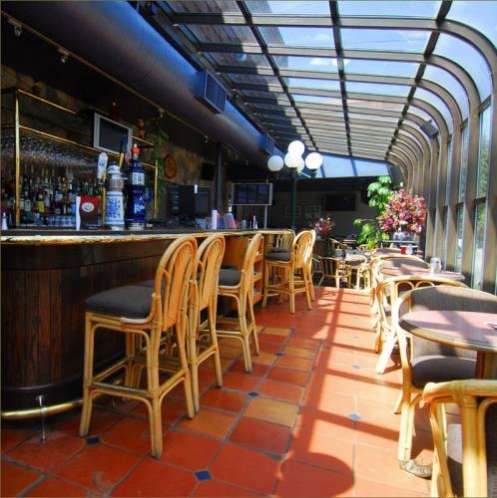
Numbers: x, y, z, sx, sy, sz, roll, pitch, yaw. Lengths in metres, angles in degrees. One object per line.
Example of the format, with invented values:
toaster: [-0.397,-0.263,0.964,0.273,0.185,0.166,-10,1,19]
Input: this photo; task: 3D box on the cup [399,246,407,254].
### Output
cup: [1.729,0.021,4.587,0.084,0.117,0.081,1,12,0]

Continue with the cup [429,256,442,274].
cup: [1.523,0.146,3.302,0.077,0.123,0.190,4,6,21]

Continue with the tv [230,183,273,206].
tv: [0.072,-1.354,10.060,0.965,0.532,0.436,2,6,-2]

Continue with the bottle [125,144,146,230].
bottle: [-0.848,-0.465,3.020,0.154,0.632,0.318,0,6,-17]

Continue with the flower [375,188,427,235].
flower: [2.064,-0.515,5.627,0.652,0.766,0.675,16,17,34]

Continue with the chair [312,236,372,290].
chair: [1.954,0.307,8.703,1.272,0.941,1.035,-1,1,35]

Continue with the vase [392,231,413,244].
vase: [2.112,-0.159,5.571,0.191,0.146,0.192,-5,9,-29]
